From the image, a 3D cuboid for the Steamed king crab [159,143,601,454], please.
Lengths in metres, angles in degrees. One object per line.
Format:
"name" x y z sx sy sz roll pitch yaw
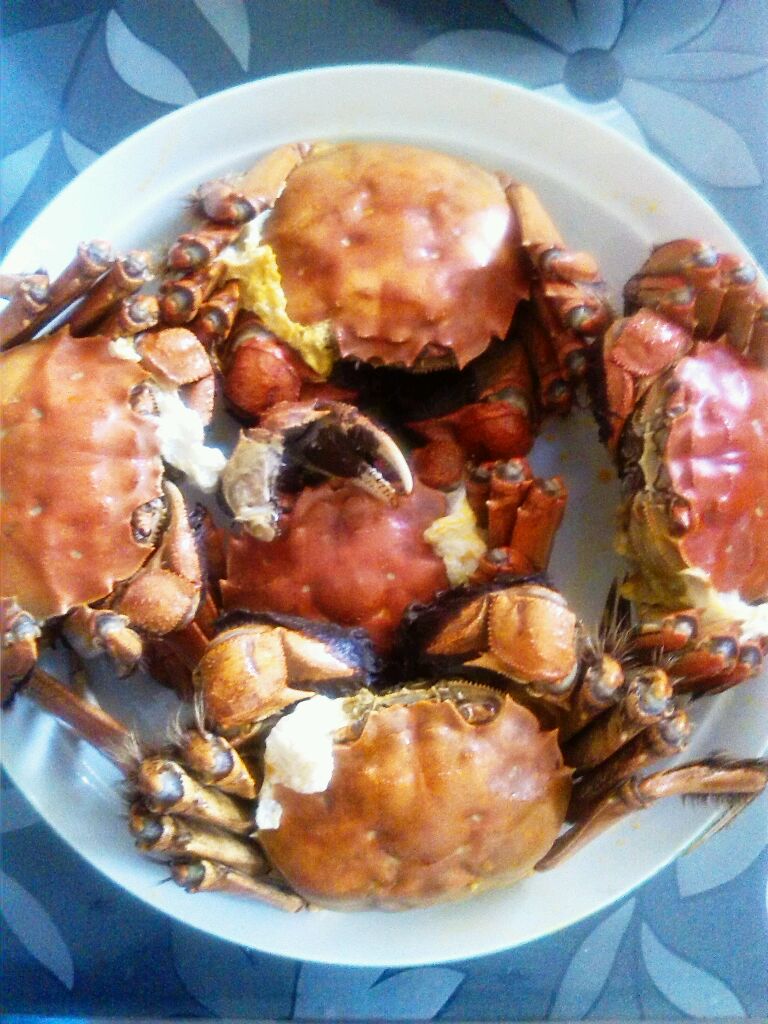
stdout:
"Steamed king crab" 0.045 -0.340 1.548 0.747 0.211 0.438 16 92 29
